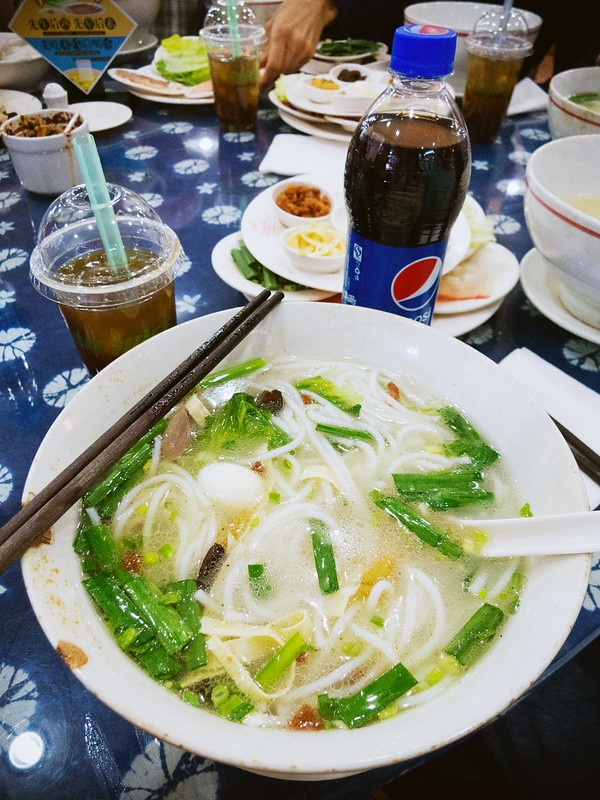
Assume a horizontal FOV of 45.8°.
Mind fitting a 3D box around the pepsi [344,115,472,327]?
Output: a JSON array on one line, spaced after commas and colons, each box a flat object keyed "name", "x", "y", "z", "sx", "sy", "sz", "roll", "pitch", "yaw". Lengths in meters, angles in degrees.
[{"name": "pepsi", "x": 0.187, "y": -0.390, "z": 1.590, "sx": 0.237, "sy": 0.437, "sz": 0.257, "roll": -6, "pitch": 22, "yaw": -17}]

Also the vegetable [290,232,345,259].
[{"name": "vegetable", "x": 0.049, "y": -0.439, "z": 2.006, "sx": 0.120, "sy": 0.039, "sz": 0.109, "roll": -4, "pitch": 45, "yaw": -5}]
